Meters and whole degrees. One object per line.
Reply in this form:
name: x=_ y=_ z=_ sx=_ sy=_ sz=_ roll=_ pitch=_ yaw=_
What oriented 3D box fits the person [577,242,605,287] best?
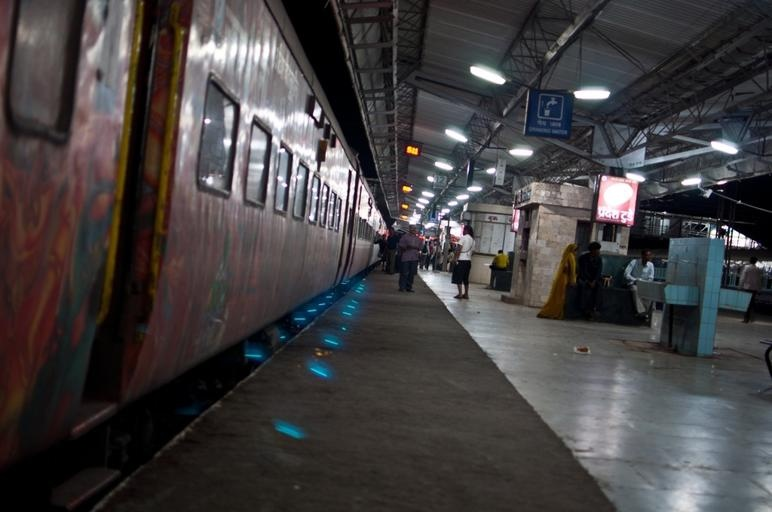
person: x=5.501 y=0.244 z=12.992 sx=0.567 sy=1.283 sz=0.737 roll=5 pitch=1 yaw=17

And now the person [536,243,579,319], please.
person: x=4.658 y=0.689 z=12.980 sx=1.009 sy=2.140 sz=0.505 roll=4 pitch=1 yaw=-21

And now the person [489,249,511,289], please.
person: x=5.495 y=0.719 z=23.061 sx=0.909 sy=1.925 sz=1.431 roll=5 pitch=1 yaw=13

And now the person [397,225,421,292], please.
person: x=0.781 y=0.120 z=16.216 sx=0.716 sy=2.211 sz=1.029 roll=4 pitch=1 yaw=2
